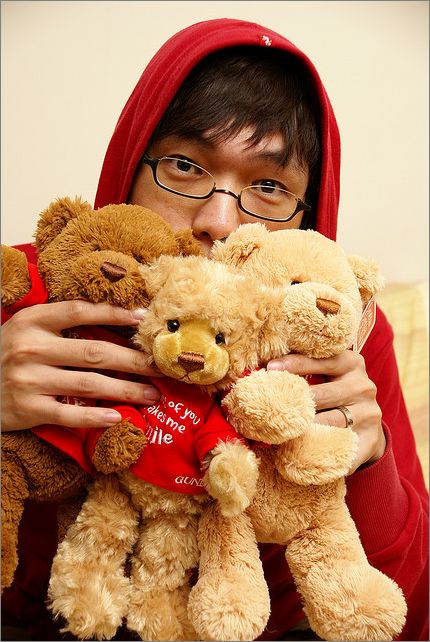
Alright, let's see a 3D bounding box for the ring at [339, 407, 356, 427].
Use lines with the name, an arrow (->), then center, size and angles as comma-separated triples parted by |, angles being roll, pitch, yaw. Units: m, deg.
ring -> 0.201, 0.147, 0.957 | 0.010, 0.022, 0.026 | -23, -21, -16
